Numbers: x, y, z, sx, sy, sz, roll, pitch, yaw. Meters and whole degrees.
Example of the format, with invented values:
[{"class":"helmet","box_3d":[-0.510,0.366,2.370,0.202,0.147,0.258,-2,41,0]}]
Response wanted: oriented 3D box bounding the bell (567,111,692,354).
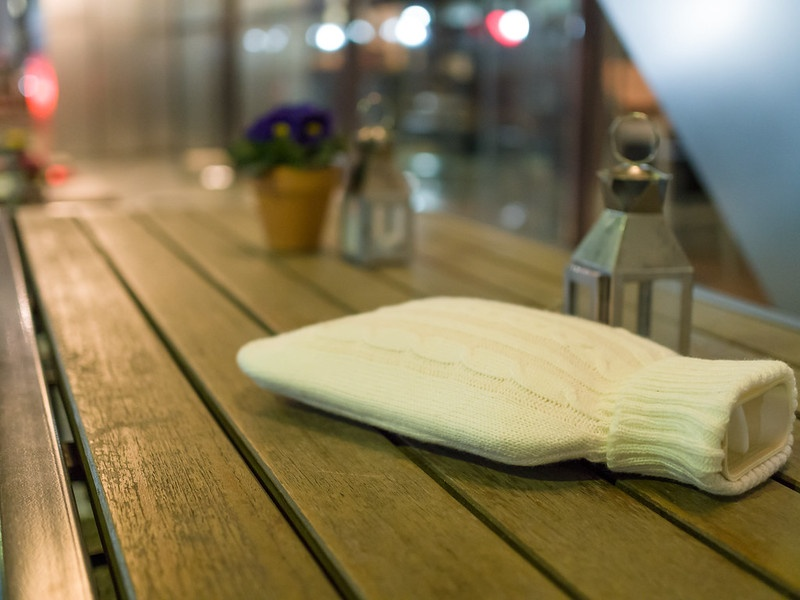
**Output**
[{"class":"bell","box_3d":[0.233,-0.048,0.718,0.120,0.274,0.124,14,23,43]}]
